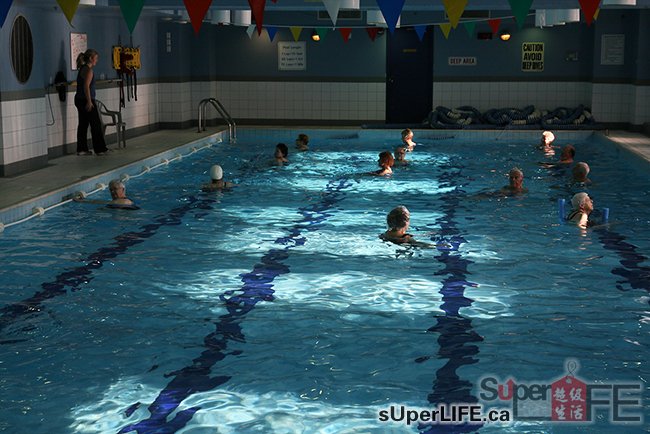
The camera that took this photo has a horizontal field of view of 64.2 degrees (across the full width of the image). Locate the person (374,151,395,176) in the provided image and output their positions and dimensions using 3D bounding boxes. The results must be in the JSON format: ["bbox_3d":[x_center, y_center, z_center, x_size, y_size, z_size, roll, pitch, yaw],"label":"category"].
[{"bbox_3d":[1.249,-1.088,10.591,0.324,0.466,0.716,4,13,12],"label":"person"}]

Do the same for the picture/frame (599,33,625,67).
[{"bbox_3d":[8.285,-4.767,14.893,0.660,0.855,0.146,5,18,17],"label":"picture/frame"}]
